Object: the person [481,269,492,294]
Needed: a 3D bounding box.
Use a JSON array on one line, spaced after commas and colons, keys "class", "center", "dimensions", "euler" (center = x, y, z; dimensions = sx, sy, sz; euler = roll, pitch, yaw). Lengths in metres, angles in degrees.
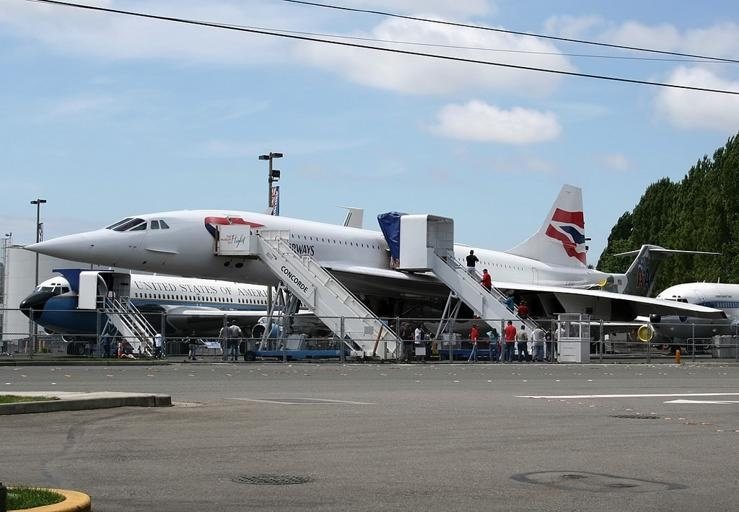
[{"class": "person", "center": [4.234, 0.877, 44.370], "dimensions": [0.374, 0.686, 1.174], "euler": [2, 0, 5]}]
